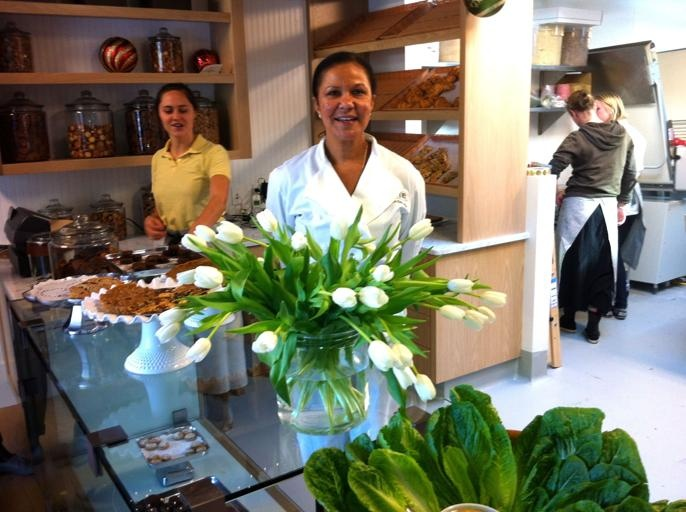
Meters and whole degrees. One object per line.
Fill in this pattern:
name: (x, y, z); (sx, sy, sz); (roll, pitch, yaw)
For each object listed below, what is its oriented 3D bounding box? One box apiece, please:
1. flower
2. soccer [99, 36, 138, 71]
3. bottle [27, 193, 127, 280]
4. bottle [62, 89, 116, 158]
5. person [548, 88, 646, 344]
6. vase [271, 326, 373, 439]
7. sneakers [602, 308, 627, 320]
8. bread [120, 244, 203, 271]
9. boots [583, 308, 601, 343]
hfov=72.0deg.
flower: (-0.027, 0.072, 0.879); (0.568, 0.271, 0.468); (0, -1, -28)
soccer: (-1.560, -1.388, 3.269); (0.250, 0.245, 0.121); (-7, 11, -12)
bottle: (-1.314, -0.085, 2.395); (0.479, 0.416, 0.426); (-1, 2, -38)
bottle: (-1.691, -0.857, 3.166); (0.275, 0.395, 0.119); (-10, 12, -26)
person: (2.254, -0.398, 4.353); (0.621, 2.224, 0.824); (2, 13, 33)
vase: (-0.025, 0.234, 0.997); (0.227, 0.228, 0.214); (-1, 4, -2)
sneakers: (2.702, 0.582, 4.769); (0.194, 0.140, 0.323); (-1, -9, 9)
bread: (-0.902, 0.015, 2.304); (0.180, 0.036, 0.267); (12, 17, 40)
boots: (2.287, 0.617, 4.322); (0.166, 0.295, 0.323); (0, 7, 21)
